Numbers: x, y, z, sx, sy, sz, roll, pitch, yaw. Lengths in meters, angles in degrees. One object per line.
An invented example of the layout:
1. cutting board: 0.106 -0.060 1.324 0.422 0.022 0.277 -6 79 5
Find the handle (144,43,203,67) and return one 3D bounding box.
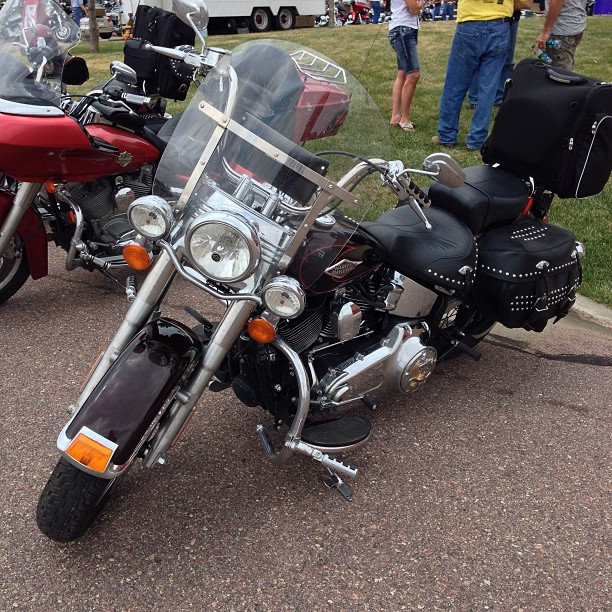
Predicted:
1. handle: -0.485 -0.899 1.995 0.114 0.046 0.302 -10 30 -35

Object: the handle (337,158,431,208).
1. handle: 0.285 -0.468 2.153 0.212 0.114 0.293 23 1 30
